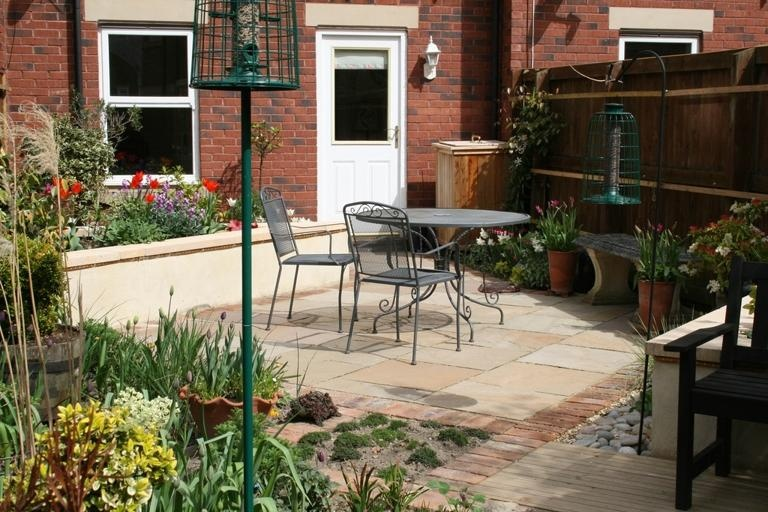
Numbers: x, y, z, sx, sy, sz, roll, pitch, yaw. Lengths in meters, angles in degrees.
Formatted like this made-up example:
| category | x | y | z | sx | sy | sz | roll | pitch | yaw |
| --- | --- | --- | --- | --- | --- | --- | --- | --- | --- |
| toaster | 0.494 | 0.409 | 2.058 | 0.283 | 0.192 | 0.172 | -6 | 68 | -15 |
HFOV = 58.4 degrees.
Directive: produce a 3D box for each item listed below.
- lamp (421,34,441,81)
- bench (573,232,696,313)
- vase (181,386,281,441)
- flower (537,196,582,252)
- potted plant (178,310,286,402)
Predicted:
| category | x | y | z | sx | sy | sz | roll | pitch | yaw |
| --- | --- | --- | --- | --- | --- | --- | --- | --- | --- |
| lamp | 0.726 | -3.021 | 10.444 | 0.261 | 0.674 | 0.242 | 1 | 10 | 4 |
| bench | 2.553 | 0.119 | 7.294 | 0.639 | 0.747 | 1.089 | -1 | 8 | -2 |
| vase | -0.909 | 0.944 | 4.005 | 0.564 | 0.308 | 0.425 | -2 | 10 | -11 |
| flower | 2.127 | -0.369 | 8.243 | 0.660 | 0.722 | 0.604 | 0 | 0 | -27 |
| potted plant | -0.913 | 0.668 | 4.419 | 0.598 | 0.477 | 0.691 | 0 | -6 | 21 |
